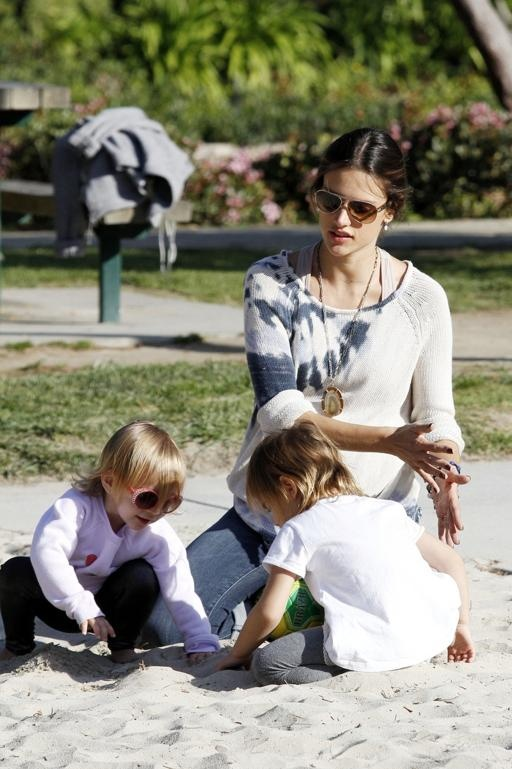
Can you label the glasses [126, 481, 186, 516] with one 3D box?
[{"bbox_3d":[-0.272,0.316,2.955,0.100,0.037,0.090,12,9,-39],"label":"glasses"}]
